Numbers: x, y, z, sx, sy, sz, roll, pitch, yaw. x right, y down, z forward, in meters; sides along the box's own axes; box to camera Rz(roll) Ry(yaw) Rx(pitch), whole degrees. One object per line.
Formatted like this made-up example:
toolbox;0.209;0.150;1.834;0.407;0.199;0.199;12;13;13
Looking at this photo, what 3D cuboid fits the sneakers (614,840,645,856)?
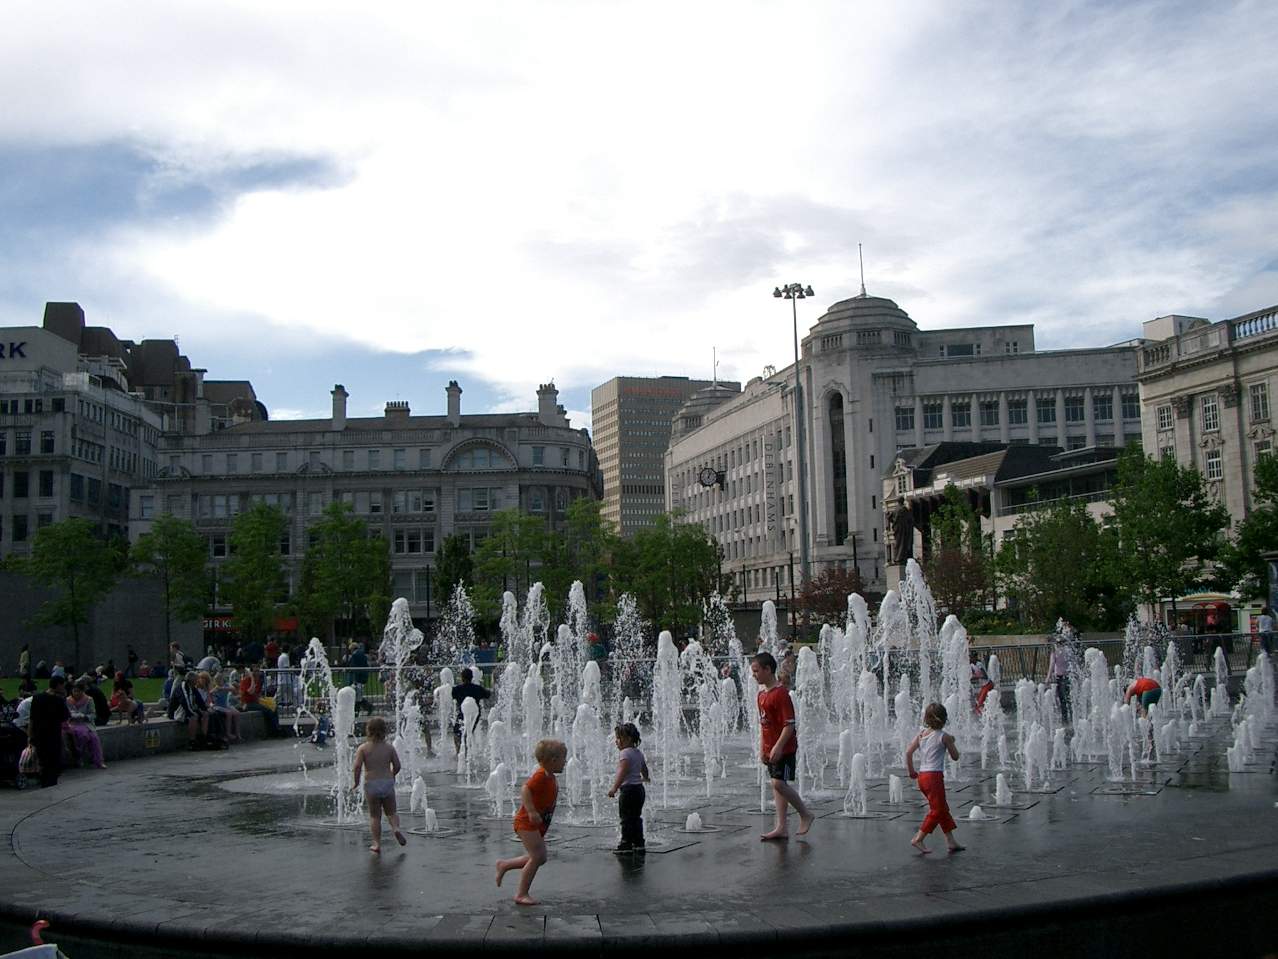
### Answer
sneakers;-0.103;4.504;19.161;0.390;0.168;0.134;-4;-7;43
